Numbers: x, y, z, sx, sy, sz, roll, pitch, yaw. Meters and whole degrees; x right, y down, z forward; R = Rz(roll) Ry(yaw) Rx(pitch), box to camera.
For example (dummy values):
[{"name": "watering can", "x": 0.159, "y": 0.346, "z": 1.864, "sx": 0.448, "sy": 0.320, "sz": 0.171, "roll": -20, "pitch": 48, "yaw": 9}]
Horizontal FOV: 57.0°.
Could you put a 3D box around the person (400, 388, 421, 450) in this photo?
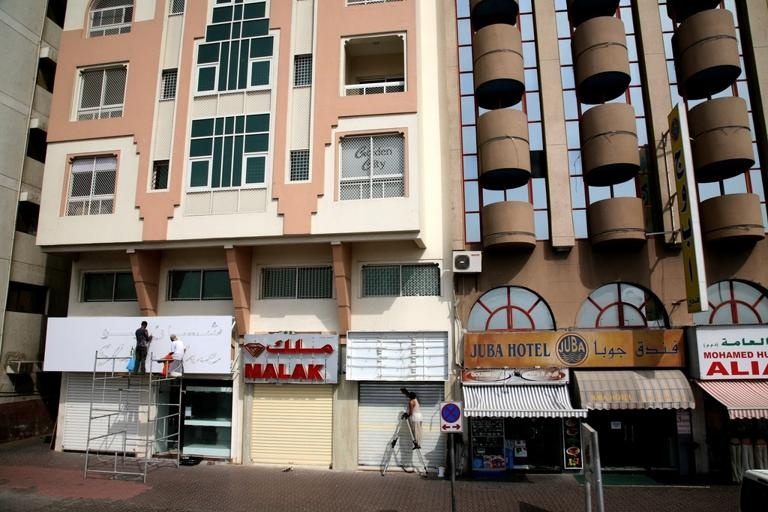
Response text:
[{"name": "person", "x": 1.270, "y": 7.301, "z": 31.907, "sx": 0.854, "sy": 2.741, "sz": 0.756, "roll": 0, "pitch": -14, "yaw": -2}]

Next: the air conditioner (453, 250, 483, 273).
[{"name": "air conditioner", "x": 3.825, "y": 0.548, "z": 32.480, "sx": 1.405, "sy": 1.017, "sz": 0.887, "roll": 0, "pitch": -10, "yaw": 4}]

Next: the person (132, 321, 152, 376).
[{"name": "person", "x": -11.325, "y": 4.257, "z": 33.023, "sx": 0.730, "sy": 2.499, "sz": 0.631, "roll": 4, "pitch": -15, "yaw": -19}]

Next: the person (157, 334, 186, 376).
[{"name": "person", "x": -9.872, "y": 4.671, "z": 32.929, "sx": 1.050, "sy": 1.939, "sz": 0.602, "roll": 3, "pitch": -15, "yaw": -15}]

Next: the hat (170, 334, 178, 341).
[{"name": "hat", "x": -9.855, "y": 3.806, "z": 32.980, "sx": 0.233, "sy": 0.334, "sz": 0.323, "roll": -1, "pitch": 9, "yaw": -9}]

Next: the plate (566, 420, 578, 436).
[{"name": "plate", "x": 8.402, "y": 7.676, "z": 31.588, "sx": 0.586, "sy": 0.623, "sz": 0.143, "roll": 1, "pitch": -9, "yaw": -4}]
